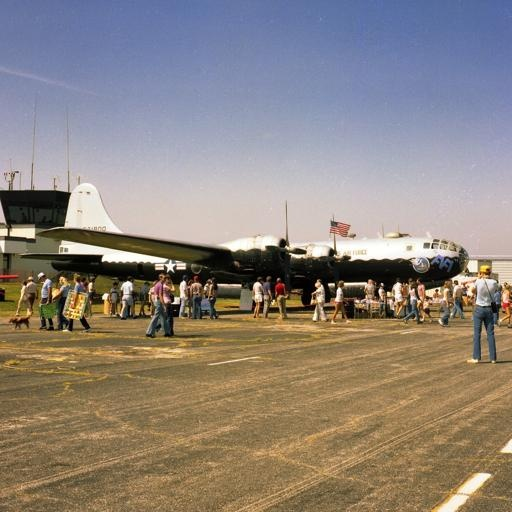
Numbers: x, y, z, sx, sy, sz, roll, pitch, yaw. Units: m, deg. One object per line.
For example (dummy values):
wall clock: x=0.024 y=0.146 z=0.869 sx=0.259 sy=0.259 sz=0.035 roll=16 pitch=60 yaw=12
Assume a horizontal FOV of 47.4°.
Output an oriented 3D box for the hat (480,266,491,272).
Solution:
hat: x=4.564 y=0.265 z=11.593 sx=0.173 sy=0.074 sz=0.213 roll=-4 pitch=-2 yaw=8

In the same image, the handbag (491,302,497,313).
handbag: x=4.617 y=0.997 z=11.304 sx=0.053 sy=0.204 sz=0.183 roll=-1 pitch=-5 yaw=36

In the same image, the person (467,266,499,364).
person: x=4.391 y=1.099 z=11.310 sx=0.523 sy=1.875 sz=0.995 roll=0 pitch=-5 yaw=20
